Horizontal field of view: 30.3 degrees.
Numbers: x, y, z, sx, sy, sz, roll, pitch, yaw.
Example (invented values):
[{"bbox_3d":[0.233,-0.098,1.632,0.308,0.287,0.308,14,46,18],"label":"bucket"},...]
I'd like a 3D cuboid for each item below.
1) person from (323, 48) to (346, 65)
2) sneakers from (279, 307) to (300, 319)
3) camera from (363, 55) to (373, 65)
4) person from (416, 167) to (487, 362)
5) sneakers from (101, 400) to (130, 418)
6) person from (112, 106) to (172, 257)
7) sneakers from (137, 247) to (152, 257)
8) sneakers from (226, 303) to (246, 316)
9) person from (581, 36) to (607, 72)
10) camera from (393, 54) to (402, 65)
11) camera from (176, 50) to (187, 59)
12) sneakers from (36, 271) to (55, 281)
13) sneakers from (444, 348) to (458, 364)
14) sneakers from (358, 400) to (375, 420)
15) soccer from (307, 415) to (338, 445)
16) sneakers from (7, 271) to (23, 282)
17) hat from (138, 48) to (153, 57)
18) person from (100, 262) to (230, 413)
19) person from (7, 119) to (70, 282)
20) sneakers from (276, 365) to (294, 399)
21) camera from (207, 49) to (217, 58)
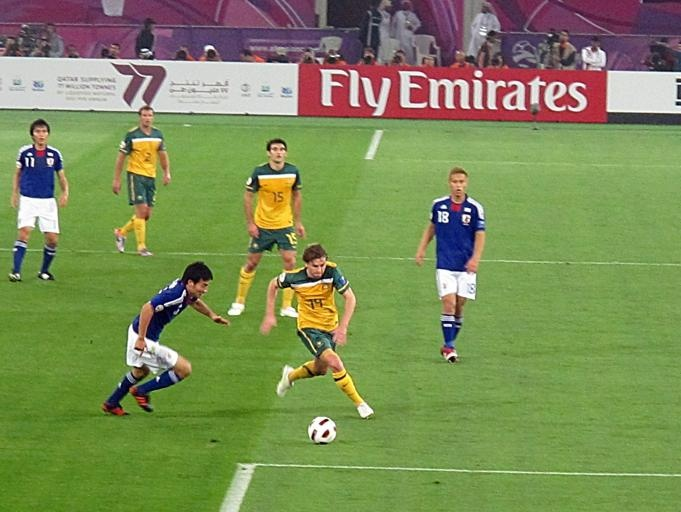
[{"bbox_3d":[-0.202,-5.679,36.083,0.779,0.536,1.242,1,5,2],"label":"person"},{"bbox_3d":[-0.858,0.912,20.517,0.349,0.134,0.139,2,17,6],"label":"sneakers"},{"bbox_3d":[0.797,-5.692,36.253,0.341,0.287,0.294,6,34,10],"label":"camera"},{"bbox_3d":[1.620,0.106,18.919,0.952,2.878,0.630,9,12,29],"label":"person"},{"bbox_3d":[-3.163,2.105,17.409,0.453,0.183,0.142,11,15,-12],"label":"sneakers"},{"bbox_3d":[-3.673,-1.386,23.033,1.009,2.737,0.626,0,11,-12],"label":"person"},{"bbox_3d":[-3.584,-0.094,23.218,0.354,0.218,0.113,0,22,5],"label":"sneakers"},{"bbox_3d":[-1.715,0.857,20.504,0.165,0.113,0.276,2,11,10],"label":"sneakers"},{"bbox_3d":[7.472,-6.031,37.246,0.649,0.944,1.306,4,10,8],"label":"person"},{"bbox_3d":[1.605,-5.644,35.933,0.238,0.287,0.104,1,7,4],"label":"camera"},{"bbox_3d":[-4.918,-6.176,38.535,0.252,0.286,0.220,-5,2,1],"label":"camera"},{"bbox_3d":[-5.095,0.338,21.680,0.343,0.207,0.108,1,10,8],"label":"sneakers"},{"bbox_3d":[1.642,1.472,18.901,0.219,0.243,0.247,3,10,5],"label":"sneakers"},{"bbox_3d":[0.334,2.107,17.281,0.162,0.120,0.304,-15,3,-14],"label":"sneakers"},{"bbox_3d":[-0.241,2.328,16.913,0.399,0.362,0.285,1,10,-8],"label":"soccer"},{"bbox_3d":[-5.574,0.349,21.461,0.299,0.126,0.094,6,6,6],"label":"sneakers"},{"bbox_3d":[-5.765,-5.996,37.253,0.470,0.192,0.570,4,12,9],"label":"hat"},{"bbox_3d":[-2.435,1.190,17.147,1.438,2.307,1.145,10,12,-1],"label":"person"},{"bbox_3d":[-5.140,-0.930,21.300,0.953,2.754,0.755,0,11,-14],"label":"person"},{"bbox_3d":[-0.817,1.771,17.911,0.283,0.491,0.185,15,18,6],"label":"sneakers"},{"bbox_3d":[-3.846,-6.055,37.551,0.294,0.255,0.249,15,10,-7],"label":"camera"}]
